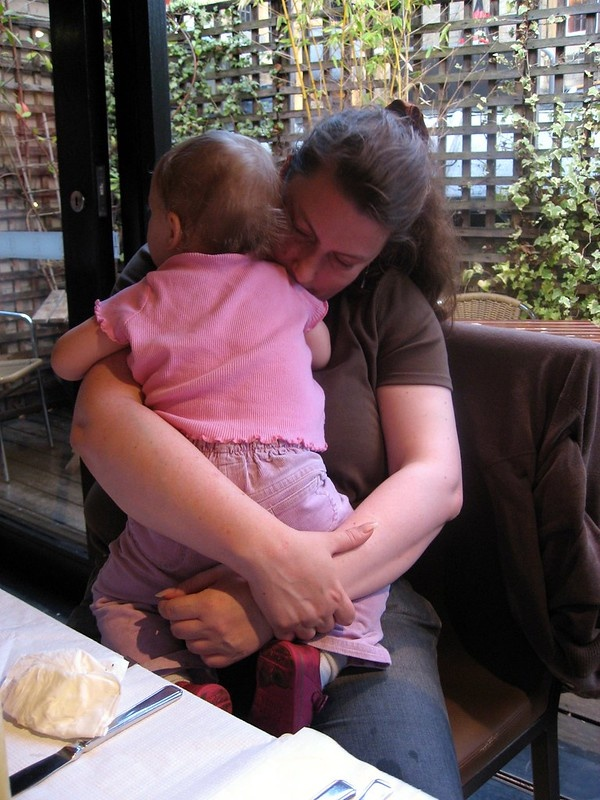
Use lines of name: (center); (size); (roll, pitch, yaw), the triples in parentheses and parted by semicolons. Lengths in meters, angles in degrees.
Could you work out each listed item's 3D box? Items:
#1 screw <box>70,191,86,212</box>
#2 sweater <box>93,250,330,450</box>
screw: (-0.579, -0.521, 1.771); (0.047, 0.049, 0.007); (26, 41, 23)
sweater: (-0.085, -0.111, 0.957); (0.352, 0.241, 0.318); (-16, 26, -37)
